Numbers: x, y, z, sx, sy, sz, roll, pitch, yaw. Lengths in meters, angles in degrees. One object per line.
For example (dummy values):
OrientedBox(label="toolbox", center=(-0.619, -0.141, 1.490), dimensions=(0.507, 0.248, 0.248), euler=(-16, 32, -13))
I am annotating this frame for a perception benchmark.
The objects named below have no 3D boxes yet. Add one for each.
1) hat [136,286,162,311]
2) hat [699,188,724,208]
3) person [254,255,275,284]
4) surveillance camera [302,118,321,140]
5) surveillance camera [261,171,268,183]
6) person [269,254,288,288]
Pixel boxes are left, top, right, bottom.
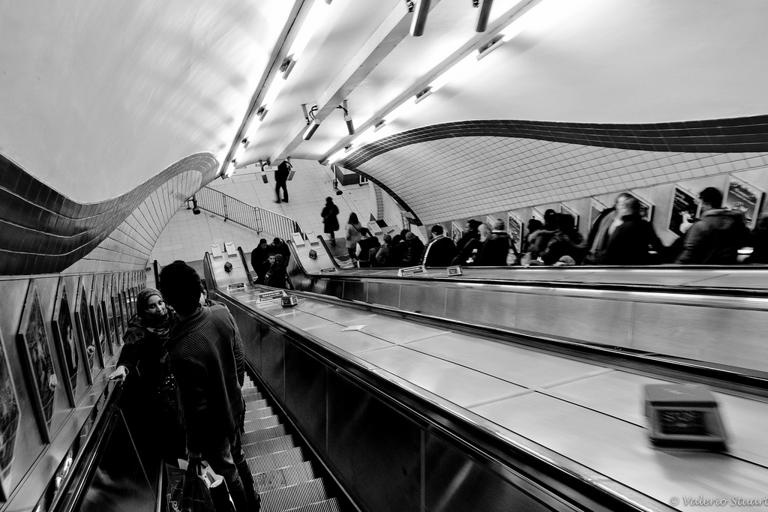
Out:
OrientedBox(label="hat", center=(-2.229, 0.418, 3.700), dimensions=(0.189, 0.194, 0.228), euler=(-6, 9, -14))
OrientedBox(label="hat", center=(4.003, -0.707, 4.833), dimensions=(0.198, 0.257, 0.300), euler=(-4, 9, 34))
OrientedBox(label="person", center=(-3.443, 0.457, 11.307), dimensions=(0.246, 0.770, 0.917), euler=(14, -9, -41))
OrientedBox(label="surveillance camera", center=(-1.921, -3.386, 10.372), dimensions=(0.188, 0.258, 1.098), euler=(29, -22, -17))
OrientedBox(label="surveillance camera", center=(-6.820, -4.468, 22.530), dimensions=(0.444, 0.532, 0.146), euler=(-5, -18, 6))
OrientedBox(label="person", center=(-2.884, 0.450, 10.812), dimensions=(0.296, 0.840, 0.691), euler=(2, 0, -25))
